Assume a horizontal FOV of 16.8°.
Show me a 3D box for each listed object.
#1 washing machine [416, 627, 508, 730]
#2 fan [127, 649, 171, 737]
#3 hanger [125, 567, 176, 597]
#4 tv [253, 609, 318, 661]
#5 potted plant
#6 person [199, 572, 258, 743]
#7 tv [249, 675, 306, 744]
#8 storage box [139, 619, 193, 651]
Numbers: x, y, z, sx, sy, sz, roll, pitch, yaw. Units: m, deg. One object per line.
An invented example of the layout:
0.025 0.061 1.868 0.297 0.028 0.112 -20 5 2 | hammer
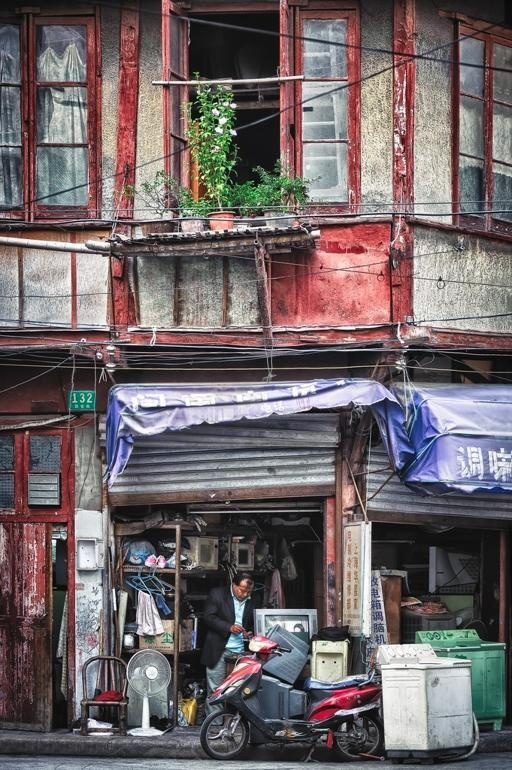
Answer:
2.146 3.040 18.242 0.797 1.723 1.152 -4 -5 40 | washing machine
-1.105 3.175 17.908 0.541 1.199 0.509 1 -9 -8 | fan
-1.153 2.090 18.576 0.382 0.174 0.330 22 9 8 | hanger
0.334 2.491 18.550 0.533 0.452 0.355 12 -46 -7 | tv
-0.320 -2.777 19.266 1.437 2.094 0.970 -2 3 4 | potted plant
-0.234 2.785 18.246 0.498 1.532 0.485 1 0 -35 | person
0.260 3.263 17.396 0.616 0.625 0.651 1 -1 11 | tv
-0.942 2.718 18.480 0.368 0.291 0.386 -7 -10 38 | storage box
